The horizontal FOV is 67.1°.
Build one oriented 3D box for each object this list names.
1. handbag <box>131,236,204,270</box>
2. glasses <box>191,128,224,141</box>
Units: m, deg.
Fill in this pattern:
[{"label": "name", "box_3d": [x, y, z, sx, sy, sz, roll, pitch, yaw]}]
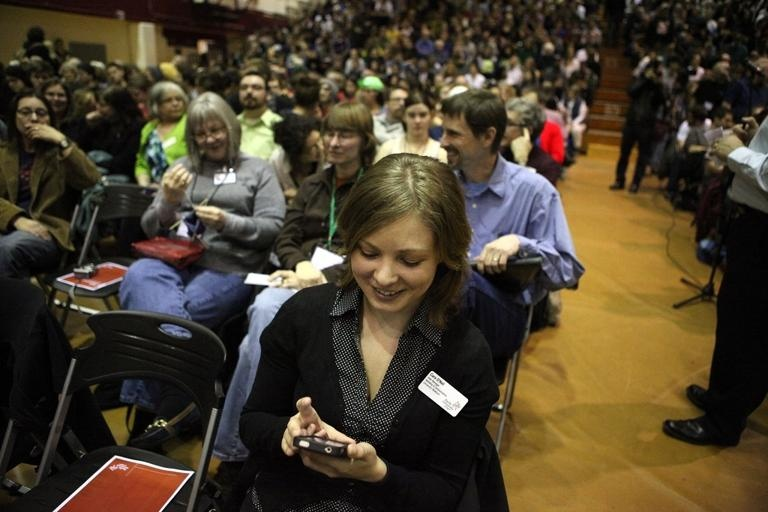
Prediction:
[{"label": "handbag", "box_3d": [-1.582, -0.021, 4.258, 0.421, 0.208, 0.326, 12, 16, 25]}, {"label": "glasses", "box_3d": [-1.309, -0.917, 4.336, 0.147, 0.115, 0.045, -2, 13, -7]}]
